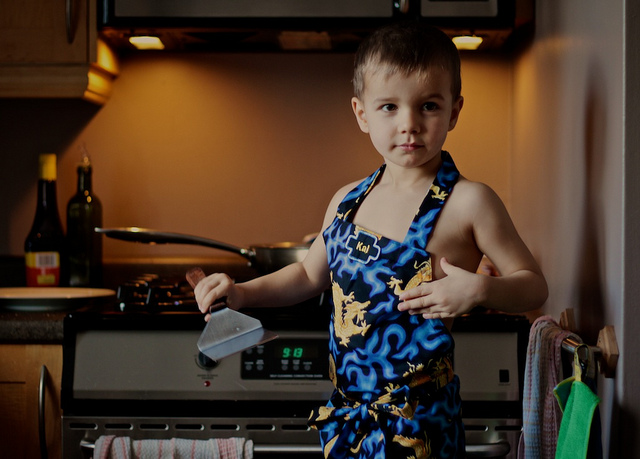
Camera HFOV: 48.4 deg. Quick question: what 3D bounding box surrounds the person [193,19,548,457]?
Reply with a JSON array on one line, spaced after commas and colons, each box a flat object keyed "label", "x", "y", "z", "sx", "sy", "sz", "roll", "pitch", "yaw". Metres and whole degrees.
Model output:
[{"label": "person", "x": 0.129, "y": 0.020, "z": 1.493, "sx": 0.647, "sy": 0.918, "sz": 0.214, "roll": -3, "pitch": -3, "yaw": 19}]

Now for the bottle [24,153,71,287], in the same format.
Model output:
[{"label": "bottle", "x": -0.816, "y": 0.008, "z": 2.137, "sx": 0.108, "sy": 0.491, "sz": 0.117, "roll": 2, "pitch": 9, "yaw": 0}]

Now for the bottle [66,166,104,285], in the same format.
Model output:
[{"label": "bottle", "x": -0.715, "y": -0.010, "z": 2.179, "sx": 0.085, "sy": 0.379, "sz": 0.099, "roll": 0, "pitch": 1, "yaw": -4}]
